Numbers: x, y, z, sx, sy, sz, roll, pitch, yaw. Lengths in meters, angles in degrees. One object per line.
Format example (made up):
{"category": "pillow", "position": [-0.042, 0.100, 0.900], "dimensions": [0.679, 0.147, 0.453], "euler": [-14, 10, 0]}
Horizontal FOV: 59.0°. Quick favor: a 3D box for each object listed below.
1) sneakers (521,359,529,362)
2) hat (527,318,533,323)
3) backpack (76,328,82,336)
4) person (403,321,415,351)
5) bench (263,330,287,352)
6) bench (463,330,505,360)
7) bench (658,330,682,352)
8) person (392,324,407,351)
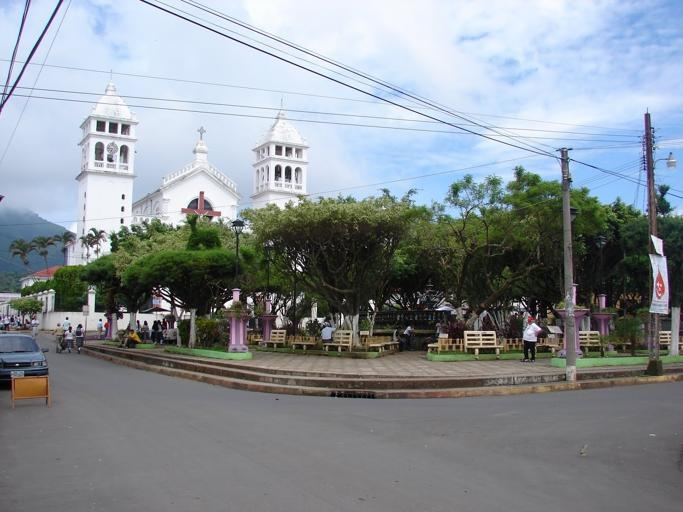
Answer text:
{"category": "sneakers", "position": [6.965, 3.989, 22.946], "dimensions": [0.315, 0.135, 0.112], "euler": [-5, -4, 1]}
{"category": "hat", "position": [7.143, 2.451, 22.875], "dimensions": [0.114, 0.219, 0.188], "euler": [13, -7, -44]}
{"category": "backpack", "position": [-16.119, 4.675, 37.209], "dimensions": [0.378, 0.561, 0.912], "euler": [3, -9, -26]}
{"category": "person", "position": [3.667, 4.425, 32.895], "dimensions": [0.572, 1.337, 2.116], "euler": [-2, -8, 6]}
{"category": "bench", "position": [-3.357, 4.542, 30.578], "dimensions": [1.403, 1.031, 0.778], "euler": [-5, -4, 32]}
{"category": "bench", "position": [5.545, 3.498, 23.971], "dimensions": [1.321, 1.025, 1.018], "euler": [-2, -8, 5]}
{"category": "bench", "position": [15.542, 4.038, 28.453], "dimensions": [0.966, 0.925, 3.617], "euler": [-5, -10, 28]}
{"category": "person", "position": [3.105, 4.545, 32.698], "dimensions": [0.912, 1.826, 0.713], "euler": [0, -1, -12]}
